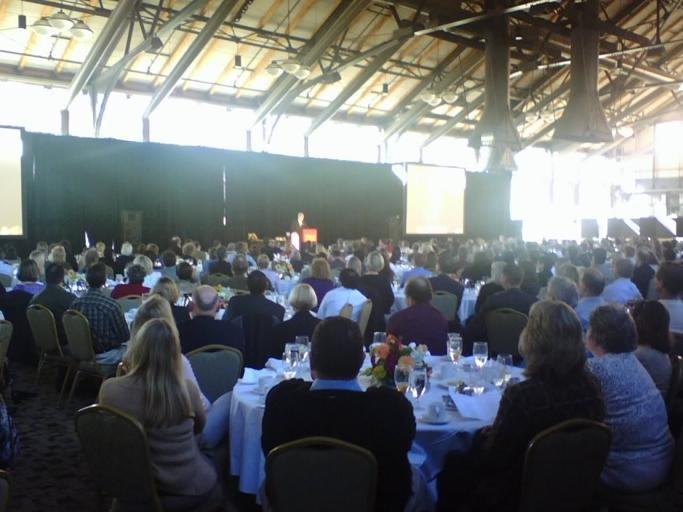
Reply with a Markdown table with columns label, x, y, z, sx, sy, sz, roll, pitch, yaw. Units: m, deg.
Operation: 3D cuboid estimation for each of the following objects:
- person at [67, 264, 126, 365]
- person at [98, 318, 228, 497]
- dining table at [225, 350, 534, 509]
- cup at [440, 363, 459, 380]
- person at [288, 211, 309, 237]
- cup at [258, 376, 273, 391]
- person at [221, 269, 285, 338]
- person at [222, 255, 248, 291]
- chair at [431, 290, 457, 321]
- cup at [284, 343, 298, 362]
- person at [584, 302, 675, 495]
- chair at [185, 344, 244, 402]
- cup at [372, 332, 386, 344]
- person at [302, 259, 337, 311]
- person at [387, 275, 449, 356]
| label | x | y | z | sx | sy | sz | roll | pitch | yaw |
| --- | --- | --- | --- | --- | --- | --- | --- | --- | --- |
| person | -2.623 | 0.529 | 7.181 | 0.693 | 1.111 | 0.642 | -6 | 21 | -37 |
| person | -1.341 | 1.124 | 4.828 | 0.892 | 1.515 | 0.878 | -8 | 16 | -44 |
| dining table | -0.030 | 1.402 | 5.454 | 1.820 | 0.586 | 1.977 | -14 | -12 | 35 |
| cup | 0.881 | 0.935 | 5.318 | 0.107 | 0.098 | 0.117 | -1 | -3 | 0 |
| person | -1.294 | -0.988 | 19.593 | 0.558 | 0.732 | 1.915 | 1 | 3 | -4 |
| cup | -0.594 | 0.981 | 5.049 | 0.114 | 0.099 | 0.081 | -1 | -1 | 44 |
| person | -0.997 | 0.519 | 7.147 | 0.470 | 1.028 | 0.305 | 2 | 10 | -2 |
| person | -1.488 | 0.240 | 9.111 | 0.264 | 0.815 | 0.254 | 4 | 21 | -5 |
| chair | 1.342 | 0.614 | 8.440 | 0.304 | 0.656 | 0.406 | 0 | 1 | 1 |
| cup | -0.388 | 0.745 | 5.135 | 0.107 | 0.234 | 0.120 | 0 | -1 | 4 |
| person | 2.057 | 1.032 | 4.957 | 0.795 | 1.378 | 0.868 | -1 | -3 | 16 |
| chair | -1.054 | 0.952 | 5.618 | 0.364 | 0.770 | 0.448 | 0 | -1 | -20 |
| cup | 0.317 | 0.666 | 5.421 | 0.109 | 0.130 | 0.120 | 0 | 2 | 0 |
| person | -0.250 | 0.493 | 8.653 | 0.312 | 1.044 | 0.334 | -2 | 28 | -1 |
| person | 0.715 | 0.600 | 6.334 | 0.553 | 0.875 | 0.449 | -3 | 26 | -12 |
